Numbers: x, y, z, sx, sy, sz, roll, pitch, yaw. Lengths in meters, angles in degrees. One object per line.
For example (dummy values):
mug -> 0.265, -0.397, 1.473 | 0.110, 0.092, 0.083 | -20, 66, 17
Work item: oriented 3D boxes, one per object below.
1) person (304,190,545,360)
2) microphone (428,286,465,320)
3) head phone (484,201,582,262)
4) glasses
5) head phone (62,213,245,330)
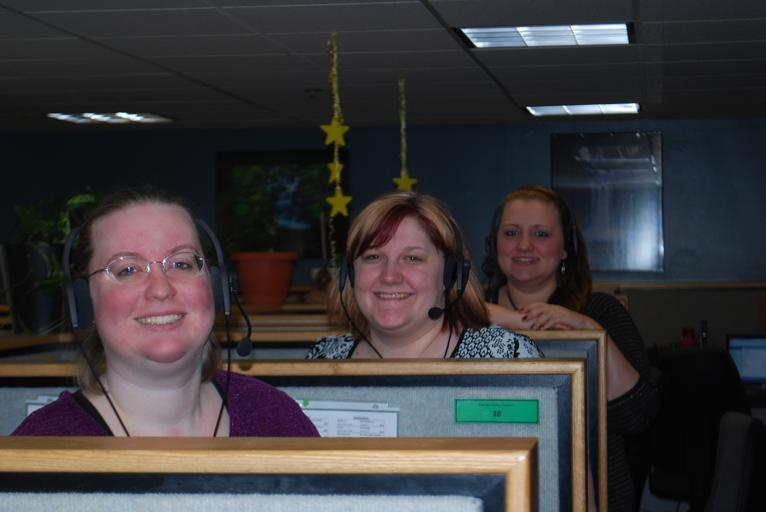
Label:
person -> 0.137, 0.070, 2.252 | 0.773, 0.544, 0.295 | 1, 4, 24
microphone -> 0.211, 0.151, 2.209 | 0.080, 0.105, 0.187 | 3, 5, 40
head phone -> 0.684, -0.130, 3.152 | 0.285, 0.339, 0.332 | 1, 4, 10
glasses -> -0.503, 0.025, 1.515 | 0.233, 0.065, 0.063 | -2, 4, -21
head phone -> -0.531, 0.040, 1.575 | 0.439, 0.341, 0.152 | -4, -30, -22
